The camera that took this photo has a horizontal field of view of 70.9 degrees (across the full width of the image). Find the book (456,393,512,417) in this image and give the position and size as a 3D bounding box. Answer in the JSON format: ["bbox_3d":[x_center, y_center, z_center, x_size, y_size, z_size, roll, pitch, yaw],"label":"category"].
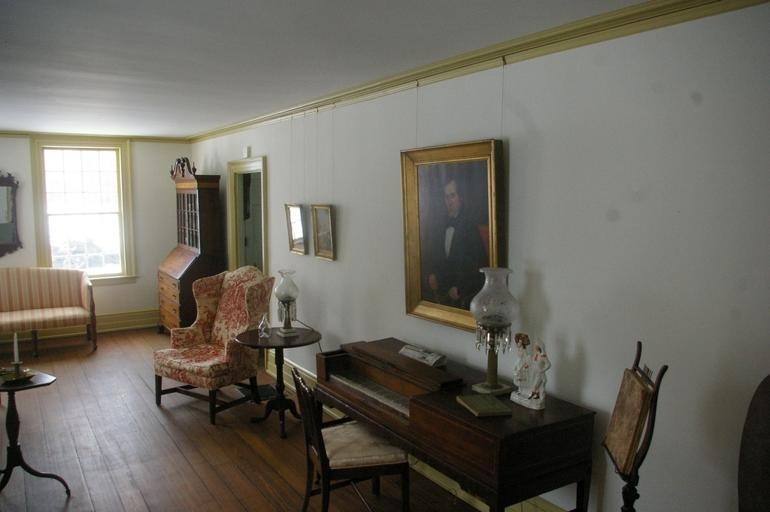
[{"bbox_3d":[0.718,1.081,3.915,0.361,0.057,0.276,0,11,-3],"label":"book"}]

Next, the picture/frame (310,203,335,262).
[{"bbox_3d":[-0.708,-0.285,6.179,0.089,0.849,0.642,-3,3,-33],"label":"picture/frame"}]

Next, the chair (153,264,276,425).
[{"bbox_3d":[-2.037,0.981,6.459,1.091,1.583,1.185,4,5,22],"label":"chair"}]

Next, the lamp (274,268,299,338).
[{"bbox_3d":[-1.115,0.540,6.097,0.286,0.691,0.289,0,-1,-4],"label":"lamp"}]

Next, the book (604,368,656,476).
[{"bbox_3d":[1.421,1.015,3.372,0.123,0.557,0.541,16,15,7],"label":"book"}]

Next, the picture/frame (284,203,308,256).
[{"bbox_3d":[-1.088,-0.340,6.656,0.095,0.766,0.641,-5,2,-27],"label":"picture/frame"}]

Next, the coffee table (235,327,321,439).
[{"bbox_3d":[-1.149,1.373,5.998,0.907,0.951,0.885,-17,-24,25],"label":"coffee table"}]
